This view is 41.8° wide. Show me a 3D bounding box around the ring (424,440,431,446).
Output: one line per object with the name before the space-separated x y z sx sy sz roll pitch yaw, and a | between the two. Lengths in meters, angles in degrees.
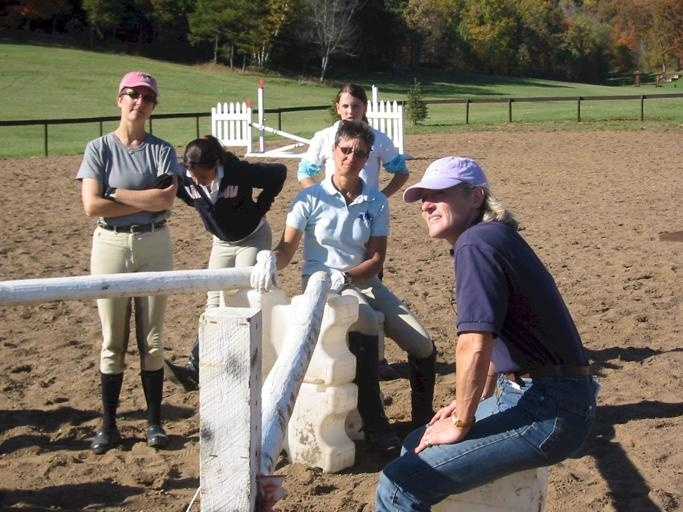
ring | 0.530 1.165 5.594 0.010 0.030 0.032 -8 -3 -23

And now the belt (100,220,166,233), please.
belt | -1.674 -0.239 7.092 0.528 0.094 0.164 1 13 -8

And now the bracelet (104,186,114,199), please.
bracelet | -1.829 -0.489 7.003 0.070 0.085 0.092 1 -10 3

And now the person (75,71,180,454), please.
person | -1.702 0.043 7.113 0.776 2.924 0.796 0 14 -13

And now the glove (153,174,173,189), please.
glove | -1.423 -0.591 7.100 0.091 0.137 0.038 11 -30 20

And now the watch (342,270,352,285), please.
watch | 0.039 0.178 6.996 0.039 0.090 0.071 3 -5 -10

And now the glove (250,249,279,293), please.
glove | -0.572 0.109 6.538 0.193 0.305 0.246 2 13 -4

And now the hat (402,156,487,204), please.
hat | 0.658 -0.470 5.820 0.447 0.202 0.314 1 -3 -16

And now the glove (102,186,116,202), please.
glove | -1.825 -0.487 7.003 0.112 0.101 0.094 -7 -8 -2

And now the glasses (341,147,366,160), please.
glasses | 0.095 -0.826 7.205 0.202 0.090 0.044 2 13 -2

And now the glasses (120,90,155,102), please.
glasses | -1.613 -1.257 7.064 0.285 0.097 0.123 0 13 -13
